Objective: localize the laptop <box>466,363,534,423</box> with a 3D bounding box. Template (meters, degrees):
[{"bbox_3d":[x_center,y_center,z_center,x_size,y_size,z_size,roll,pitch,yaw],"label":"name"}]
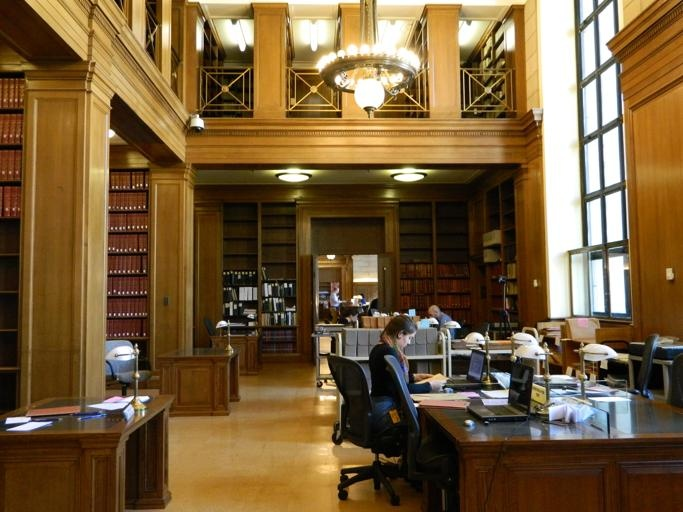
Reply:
[{"bbox_3d":[1.121,1.003,4.321,0.333,0.390,0.453,1,-3,-1],"label":"laptop"}]

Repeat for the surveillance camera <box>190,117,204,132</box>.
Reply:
[{"bbox_3d":[-2.067,-1.871,8.809,0.156,0.214,0.205,1,-8,-6],"label":"surveillance camera"}]

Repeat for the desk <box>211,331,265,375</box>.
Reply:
[{"bbox_3d":[-1.761,1.640,10.542,0.784,0.647,0.820,0,-6,-9],"label":"desk"}]

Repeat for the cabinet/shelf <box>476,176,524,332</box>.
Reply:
[{"bbox_3d":[2.719,-0.018,10.720,0.634,2.530,2.700,0,1,13],"label":"cabinet/shelf"}]

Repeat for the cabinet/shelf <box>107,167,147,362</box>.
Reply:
[{"bbox_3d":[-3.218,0.108,9.258,0.658,2.823,0.335,0,1,-10],"label":"cabinet/shelf"}]

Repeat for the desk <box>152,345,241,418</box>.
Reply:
[{"bbox_3d":[-1.823,1.591,7.971,0.922,0.772,0.860,0,1,-6],"label":"desk"}]

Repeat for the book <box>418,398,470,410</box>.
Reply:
[{"bbox_3d":[0.770,1.087,4.583,0.422,0.036,0.339,-3,-4,5],"label":"book"}]

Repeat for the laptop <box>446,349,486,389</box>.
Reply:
[{"bbox_3d":[1.072,1.019,5.311,0.278,0.244,0.382,-3,-3,0],"label":"laptop"}]
